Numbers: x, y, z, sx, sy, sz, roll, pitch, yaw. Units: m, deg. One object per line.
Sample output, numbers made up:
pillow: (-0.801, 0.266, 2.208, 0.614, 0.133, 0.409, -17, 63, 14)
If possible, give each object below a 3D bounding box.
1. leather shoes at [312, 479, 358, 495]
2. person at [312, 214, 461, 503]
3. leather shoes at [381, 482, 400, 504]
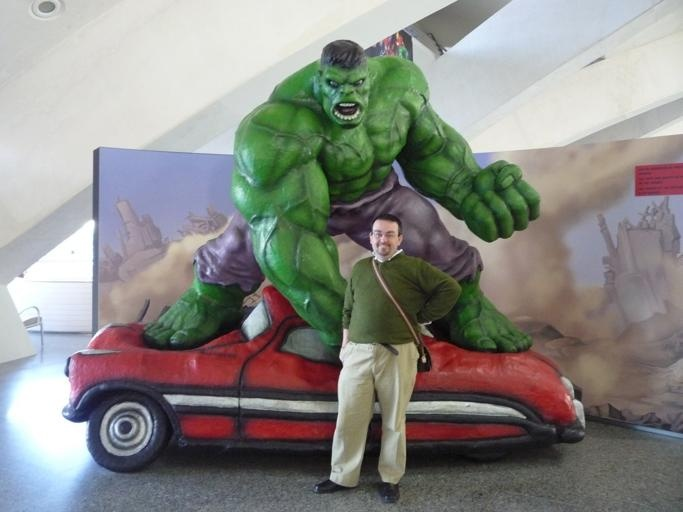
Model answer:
leather shoes: (-0.028, 1.295, 3.404, 0.234, 0.097, 0.080, 1, 1, -9)
person: (0.243, 0.549, 3.346, 0.742, 1.545, 0.298, 1, 7, 10)
leather shoes: (0.269, 1.300, 3.312, 0.112, 0.091, 0.094, 0, 6, -2)
